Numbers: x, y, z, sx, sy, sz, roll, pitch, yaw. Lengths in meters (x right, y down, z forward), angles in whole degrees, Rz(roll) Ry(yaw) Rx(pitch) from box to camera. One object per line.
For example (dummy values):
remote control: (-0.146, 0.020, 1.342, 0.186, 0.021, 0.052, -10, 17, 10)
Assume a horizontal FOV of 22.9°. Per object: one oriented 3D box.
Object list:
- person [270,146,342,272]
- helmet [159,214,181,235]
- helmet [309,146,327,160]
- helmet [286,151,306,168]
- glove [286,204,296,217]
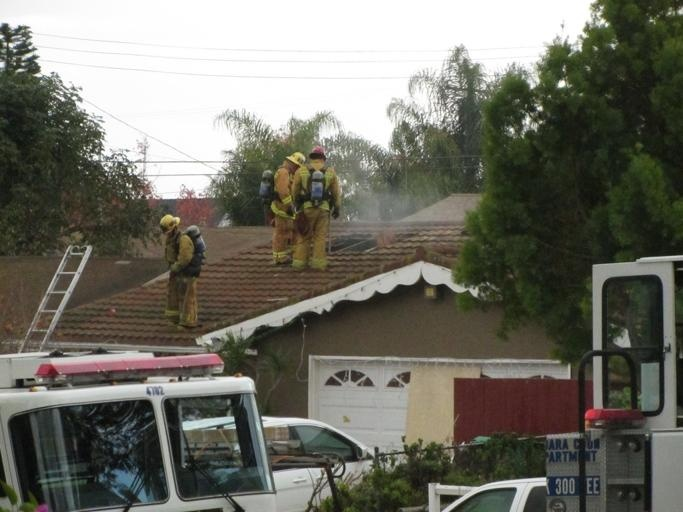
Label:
person: (-0.576, -0.915, 31.062, 1.074, 2.344, 0.839, -7, -7, 37)
helmet: (-3.095, -0.646, 30.413, 0.256, 0.373, 0.164, 8, -36, 16)
helmet: (-0.441, -1.983, 30.843, 0.260, 0.268, 0.558, -3, -7, -3)
helmet: (-0.845, -1.890, 31.622, 0.317, 0.182, 0.332, 23, 10, -12)
glove: (-0.928, -0.889, 31.347, 0.186, 0.238, 0.210, -1, -8, 3)
